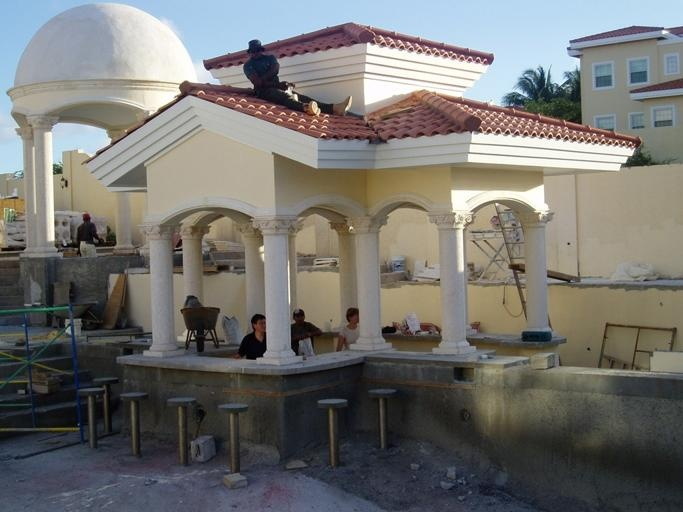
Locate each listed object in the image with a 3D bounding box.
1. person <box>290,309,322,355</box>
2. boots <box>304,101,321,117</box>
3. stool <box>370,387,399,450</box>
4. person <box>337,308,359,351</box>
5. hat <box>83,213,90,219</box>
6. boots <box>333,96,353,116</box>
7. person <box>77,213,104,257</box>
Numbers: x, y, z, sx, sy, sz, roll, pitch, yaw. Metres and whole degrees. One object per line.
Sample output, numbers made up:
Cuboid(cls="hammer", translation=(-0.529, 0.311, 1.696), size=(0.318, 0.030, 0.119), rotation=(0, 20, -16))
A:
Cuboid(cls="person", translation=(-0.886, 1.811, 16.916), size=(0.652, 1.090, 0.591), rotation=(-10, 12, -18))
Cuboid(cls="boots", translation=(-0.601, -2.980, 15.345), size=(0.130, 0.271, 0.365), rotation=(-28, 1, 29))
Cuboid(cls="stool", translation=(0.826, 3.194, 14.647), size=(0.529, 1.159, 0.715), rotation=(-2, 0, 4))
Cuboid(cls="person", translation=(0.124, 1.675, 16.789), size=(0.491, 0.945, 1.281), rotation=(-2, 0, -1))
Cuboid(cls="hat", translation=(-8.587, -1.290, 25.099), size=(0.233, 0.151, 0.252), rotation=(2, 4, 0))
Cuboid(cls="boots", translation=(0.013, -3.186, 15.898), size=(0.264, 0.625, 0.231), rotation=(14, -35, -11))
Cuboid(cls="person", translation=(-8.717, -0.714, 25.666), size=(0.709, 1.507, 2.164), rotation=(-2, 0, -18))
